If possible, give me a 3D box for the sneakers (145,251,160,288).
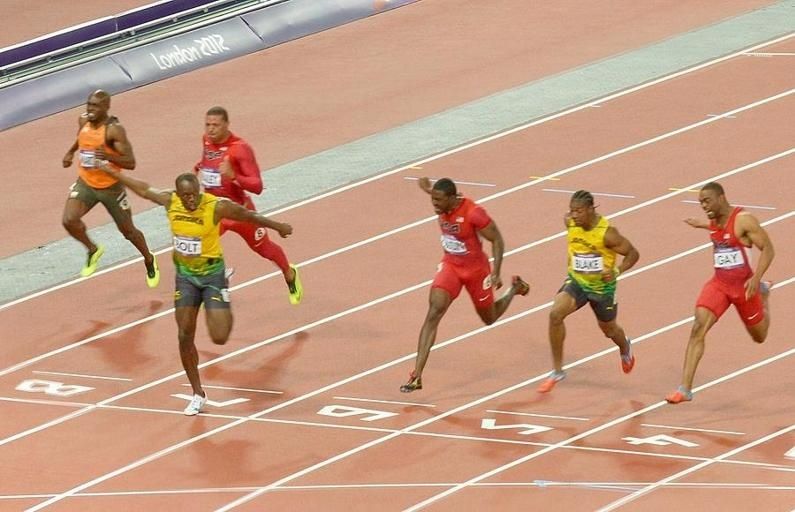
[{"bbox_3d":[-3.212,0.194,13.460,0.243,0.424,0.211,-1,11,-2],"label":"sneakers"}]

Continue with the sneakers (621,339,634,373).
[{"bbox_3d":[2.667,1.134,11.672,0.212,0.381,0.213,-2,-3,10],"label":"sneakers"}]

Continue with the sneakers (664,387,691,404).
[{"bbox_3d":[3.022,1.491,10.950,0.347,0.100,0.172,6,-15,-25],"label":"sneakers"}]

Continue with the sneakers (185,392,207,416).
[{"bbox_3d":[-2.301,1.658,11.473,0.165,0.132,0.386,10,13,12],"label":"sneakers"}]

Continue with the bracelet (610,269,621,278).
[{"bbox_3d":[2.413,0.191,11.311,0.126,0.061,0.100,2,12,-9],"label":"bracelet"}]
